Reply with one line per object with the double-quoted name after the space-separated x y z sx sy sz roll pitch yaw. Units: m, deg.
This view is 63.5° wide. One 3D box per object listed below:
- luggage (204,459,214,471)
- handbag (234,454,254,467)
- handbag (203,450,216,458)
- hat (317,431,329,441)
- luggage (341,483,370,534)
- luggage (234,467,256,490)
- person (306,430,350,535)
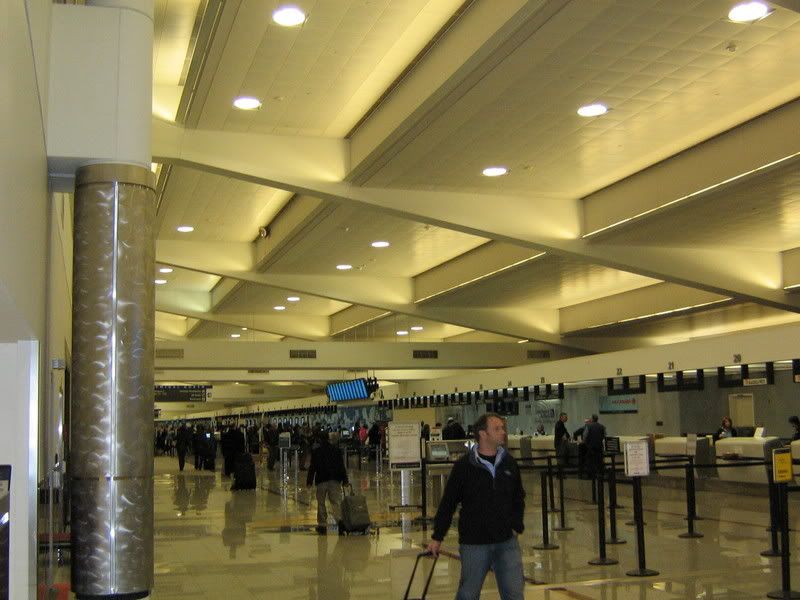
-9.435 8.207 32.100 0.365 0.591 0.677 10 -17 -36 "luggage"
-5.214 5.453 21.762 0.589 0.481 0.543 4 -14 -22 "handbag"
-9.400 7.585 31.882 0.715 0.464 0.372 0 -19 -2 "handbag"
-1.426 2.607 12.310 0.183 0.183 0.413 2 -11 -7 "hat"
-0.841 4.047 12.127 0.536 0.682 0.469 2 -11 -5 "luggage"
-5.110 5.986 21.443 0.774 0.682 0.698 2 19 -1 "luggage"
-1.385 3.525 12.563 0.740 1.908 1.236 2 -11 -5 "person"
